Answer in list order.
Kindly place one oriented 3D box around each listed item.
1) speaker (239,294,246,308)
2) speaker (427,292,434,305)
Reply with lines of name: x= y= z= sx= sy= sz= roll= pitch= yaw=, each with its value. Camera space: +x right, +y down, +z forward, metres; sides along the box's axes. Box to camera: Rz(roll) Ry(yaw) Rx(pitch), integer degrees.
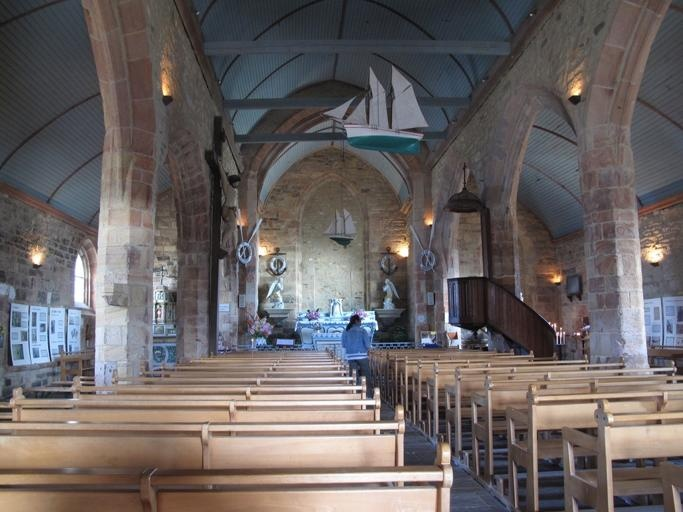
speaker: x=-3.178 y=1.449 z=17.085 sx=0.237 sy=0.424 sz=0.305 roll=-3 pitch=-11 yaw=7
speaker: x=2.925 y=1.407 z=17.293 sx=0.232 sy=0.449 sz=0.165 roll=-6 pitch=-11 yaw=22
